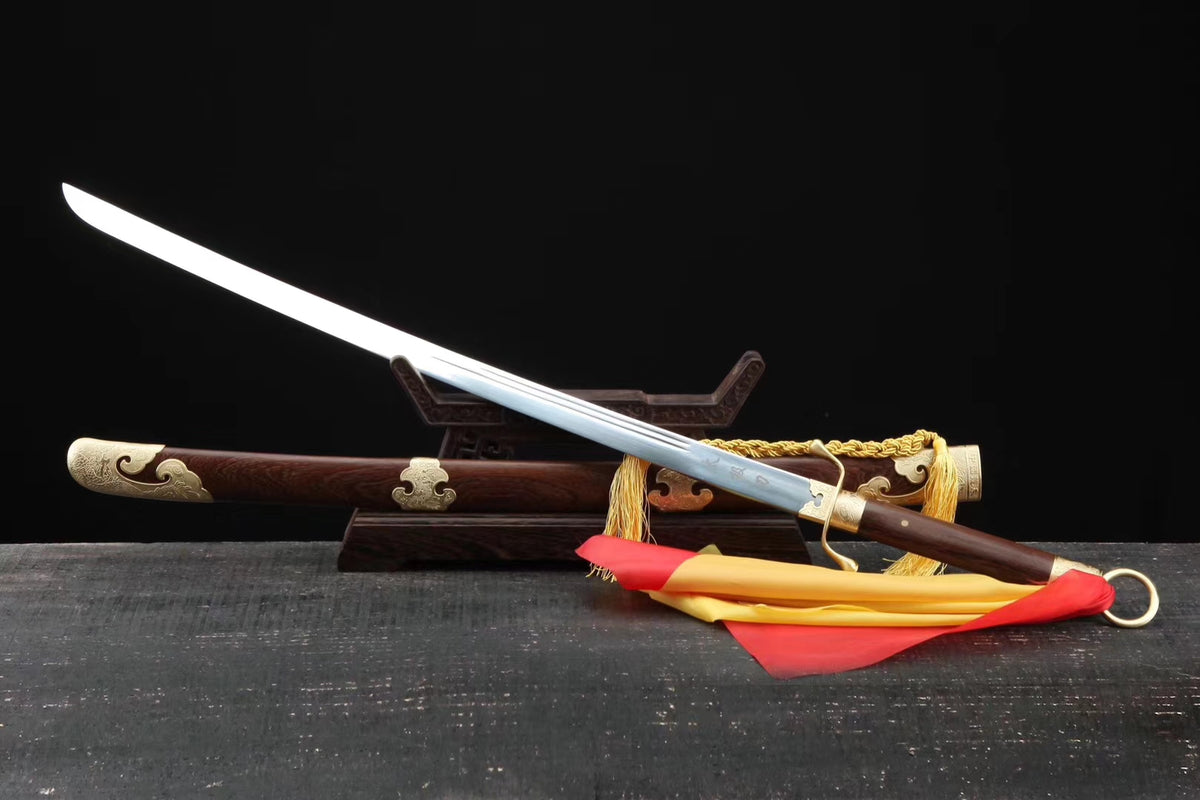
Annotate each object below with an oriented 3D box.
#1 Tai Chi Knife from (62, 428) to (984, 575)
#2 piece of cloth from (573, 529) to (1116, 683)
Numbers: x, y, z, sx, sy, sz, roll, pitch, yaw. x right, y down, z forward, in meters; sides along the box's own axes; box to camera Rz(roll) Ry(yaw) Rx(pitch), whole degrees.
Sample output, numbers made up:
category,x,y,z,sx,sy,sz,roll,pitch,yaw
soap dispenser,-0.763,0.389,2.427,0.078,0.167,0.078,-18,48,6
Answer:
category,x,y,z,sx,sy,sz,roll,pitch,yaw
Tai Chi Knife,-0.145,0.146,2.391,1.557,0.194,0.101,1,21,-1
piece of cloth,0.433,0.302,2.180,0.890,0.085,0.330,0,23,-5
